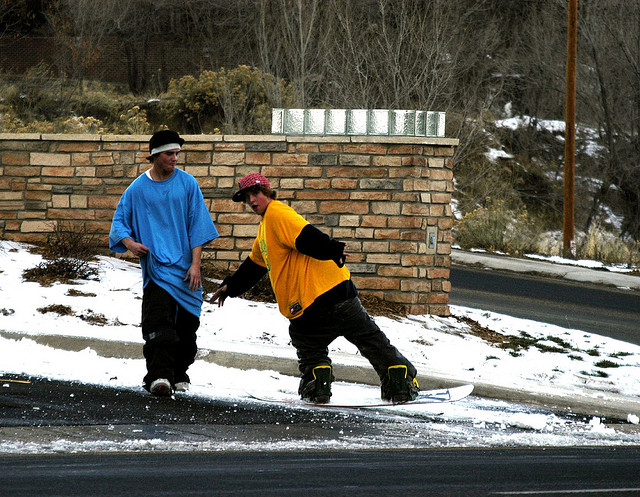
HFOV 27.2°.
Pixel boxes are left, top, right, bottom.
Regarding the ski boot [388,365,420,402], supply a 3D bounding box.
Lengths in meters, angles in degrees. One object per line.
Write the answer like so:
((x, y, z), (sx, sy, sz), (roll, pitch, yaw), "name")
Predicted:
((1.365, 2.214, 21.680), (0.351, 0.633, 0.216), (-8, 8, -6), "ski boot")

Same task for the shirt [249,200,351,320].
((-0.333, 0.267, 22.202), (0.754, 1.360, 1.468), (-33, -5, -43), "shirt")

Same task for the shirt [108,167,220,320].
((-2.578, 0.052, 22.135), (1.710, 3.122, 0.858), (-4, 31, -6), "shirt")

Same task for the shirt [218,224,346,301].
((-0.578, 0.247, 21.664), (1.986, 1.369, 0.427), (6, 7, 21), "shirt")
